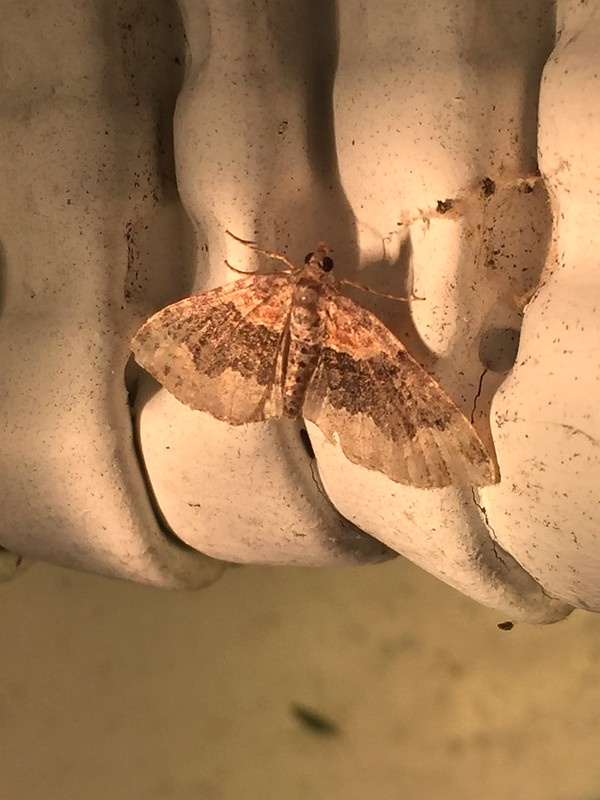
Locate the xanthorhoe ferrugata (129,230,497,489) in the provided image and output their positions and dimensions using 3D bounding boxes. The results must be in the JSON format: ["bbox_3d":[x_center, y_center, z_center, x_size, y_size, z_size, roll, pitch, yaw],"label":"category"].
[{"bbox_3d":[0.007,-0.068,1.365,0.137,0.269,0.492,-8,23,-36],"label":"xanthorhoe ferrugata"}]
